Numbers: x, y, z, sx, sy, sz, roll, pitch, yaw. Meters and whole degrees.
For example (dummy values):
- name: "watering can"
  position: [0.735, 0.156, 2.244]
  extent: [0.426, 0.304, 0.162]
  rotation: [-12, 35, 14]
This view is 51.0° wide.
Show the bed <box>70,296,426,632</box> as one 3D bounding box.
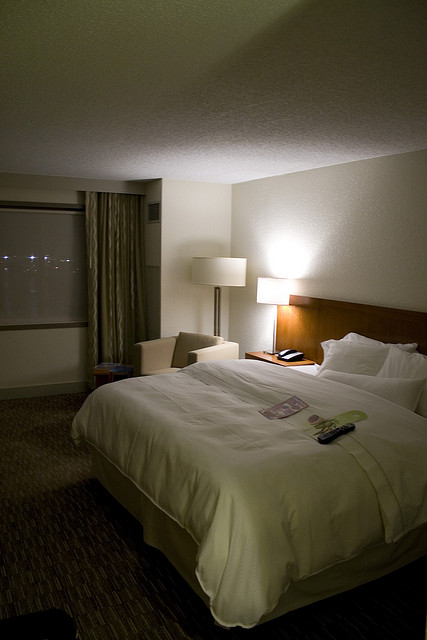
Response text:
- name: "bed"
  position: [0.244, 0.750, 2.514]
  extent: [1.190, 0.769, 1.456]
  rotation: [-1, 7, -24]

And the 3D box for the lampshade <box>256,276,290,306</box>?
- name: "lampshade"
  position: [0.638, -0.297, 4.726]
  extent: [0.291, 0.223, 0.294]
  rotation: [2, 2, -11]

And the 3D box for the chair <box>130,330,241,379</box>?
- name: "chair"
  position: [-0.312, 0.358, 4.906]
  extent: [0.731, 0.740, 0.700]
  rotation: [3, -1, 32]

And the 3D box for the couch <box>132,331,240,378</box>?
- name: "couch"
  position: [-0.283, 0.355, 4.935]
  extent: [0.726, 0.731, 0.691]
  rotation: [3, -1, 34]

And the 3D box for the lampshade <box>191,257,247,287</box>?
- name: "lampshade"
  position: [0.039, -0.557, 5.120]
  extent: [0.392, 0.216, 0.402]
  rotation: [7, 8, 41]
